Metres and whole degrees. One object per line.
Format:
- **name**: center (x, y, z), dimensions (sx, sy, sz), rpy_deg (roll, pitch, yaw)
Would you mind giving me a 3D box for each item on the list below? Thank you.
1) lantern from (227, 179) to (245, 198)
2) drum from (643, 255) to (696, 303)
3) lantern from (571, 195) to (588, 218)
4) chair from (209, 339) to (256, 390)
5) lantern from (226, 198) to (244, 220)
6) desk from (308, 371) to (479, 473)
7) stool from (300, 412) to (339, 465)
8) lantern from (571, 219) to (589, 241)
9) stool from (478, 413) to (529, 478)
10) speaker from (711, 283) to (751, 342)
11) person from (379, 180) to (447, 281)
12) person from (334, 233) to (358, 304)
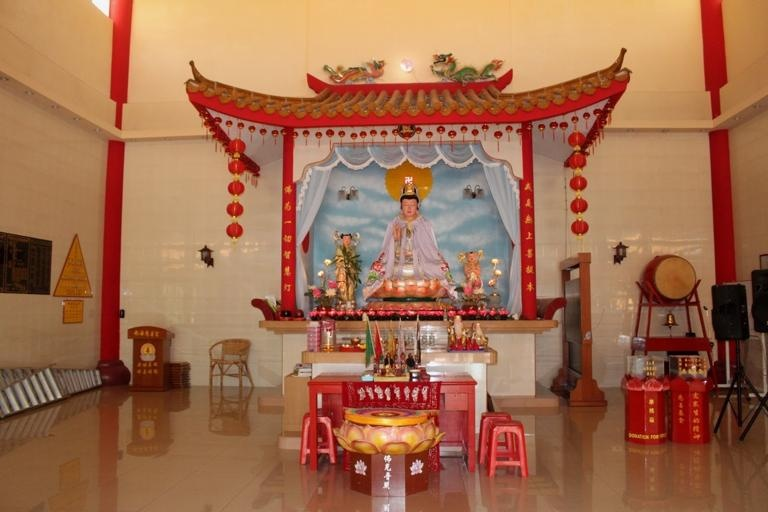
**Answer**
- **lantern**: center (-2.563, -1.198, 10.696), dimensions (0.218, 0.298, 0.328), rpy_deg (-2, 9, -8)
- **drum**: center (5.712, 0.377, 12.173), dimensions (0.889, 0.808, 0.853), rpy_deg (-8, 2, -32)
- **lantern**: center (3.276, -0.862, 10.380), dimensions (0.218, 0.313, 0.346), rpy_deg (3, 10, 21)
- **chair**: center (-3.058, 2.126, 12.294), dimensions (0.845, 0.947, 0.793), rpy_deg (-3, -6, 31)
- **lantern**: center (-2.585, -0.824, 10.699), dimensions (0.226, 0.330, 0.479), rpy_deg (-2, 9, -10)
- **desk**: center (0.111, 2.296, 8.669), dimensions (2.208, 1.308, 1.140), rpy_deg (0, -2, -2)
- **stool**: center (-0.886, 2.434, 8.373), dimensions (0.603, 0.721, 0.614), rpy_deg (-2, -7, 6)
- **lantern**: center (3.246, -0.471, 10.334), dimensions (0.213, 0.336, 0.336), rpy_deg (1, 9, 8)
- **stool**: center (1.601, 2.438, 8.229), dimensions (0.645, 0.741, 0.787), rpy_deg (1, -5, 2)
- **speaker**: center (5.312, 0.860, 9.511), dimensions (0.522, 0.933, 0.400), rpy_deg (5, 11, 30)
- **person**: center (0.444, -0.448, 11.454), dimensions (1.481, 1.719, 1.053), rpy_deg (1, 21, -3)
- **person**: center (-0.673, 0.231, 10.988), dimensions (0.413, 1.167, 0.638), rpy_deg (0, 9, -1)
